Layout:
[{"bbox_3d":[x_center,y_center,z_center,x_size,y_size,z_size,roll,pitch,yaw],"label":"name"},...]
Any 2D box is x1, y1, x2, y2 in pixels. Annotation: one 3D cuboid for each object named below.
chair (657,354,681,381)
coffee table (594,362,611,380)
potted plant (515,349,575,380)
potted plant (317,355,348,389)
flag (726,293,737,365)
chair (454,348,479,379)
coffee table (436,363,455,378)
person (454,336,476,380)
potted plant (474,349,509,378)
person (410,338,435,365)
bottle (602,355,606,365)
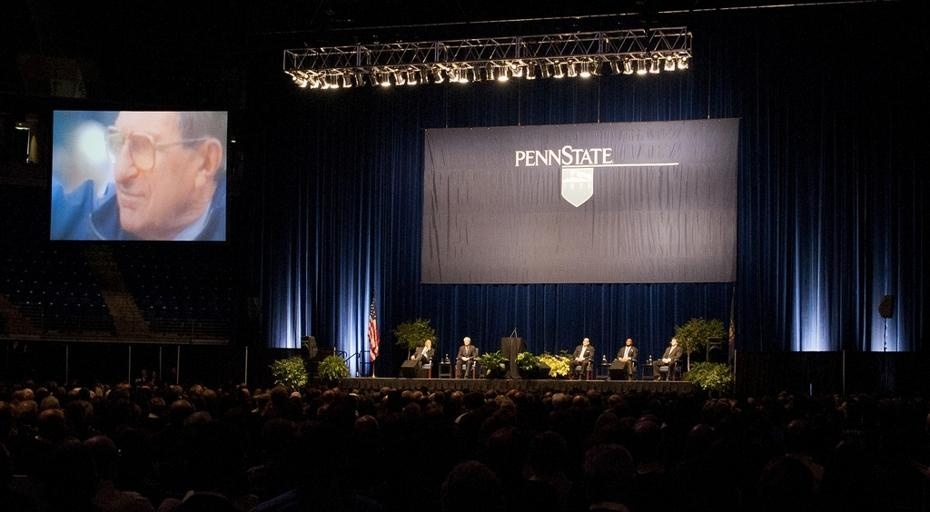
[{"bbox_3d":[6.712,3.729,28.146,0.766,0.795,0.734,-8,-34,27],"label":"chair"},{"bbox_3d":[4.778,3.985,29.790,0.374,0.600,0.644,6,-9,-30],"label":"coffee table"},{"bbox_3d":[2.623,3.576,28.151,1.951,0.830,0.735,4,-5,-35],"label":"potted plant"},{"bbox_3d":[-4.313,3.859,28.973,0.982,0.926,0.968,0,-1,18],"label":"potted plant"},{"bbox_3d":[9.015,2.366,29.090,0.292,2.441,2.009,-1,-4,18],"label":"flag"},{"bbox_3d":[0.075,3.691,29.443,0.713,0.801,1.386,-1,37,5],"label":"chair"},{"bbox_3d":[-0.660,3.954,30.040,0.575,0.478,2.179,1,-5,-1],"label":"coffee table"},{"bbox_3d":[0.027,3.576,29.764,0.854,1.776,1.164,-1,-39,7],"label":"person"},{"bbox_3d":[0.909,3.581,28.492,0.934,0.618,0.907,2,-9,0],"label":"potted plant"},{"bbox_3d":[-1.493,3.280,29.725,0.783,0.571,1.942,9,9,9],"label":"person"},{"bbox_3d":[4.933,3.706,30.412,0.255,0.435,0.250,1,-6,0],"label":"bottle"}]
